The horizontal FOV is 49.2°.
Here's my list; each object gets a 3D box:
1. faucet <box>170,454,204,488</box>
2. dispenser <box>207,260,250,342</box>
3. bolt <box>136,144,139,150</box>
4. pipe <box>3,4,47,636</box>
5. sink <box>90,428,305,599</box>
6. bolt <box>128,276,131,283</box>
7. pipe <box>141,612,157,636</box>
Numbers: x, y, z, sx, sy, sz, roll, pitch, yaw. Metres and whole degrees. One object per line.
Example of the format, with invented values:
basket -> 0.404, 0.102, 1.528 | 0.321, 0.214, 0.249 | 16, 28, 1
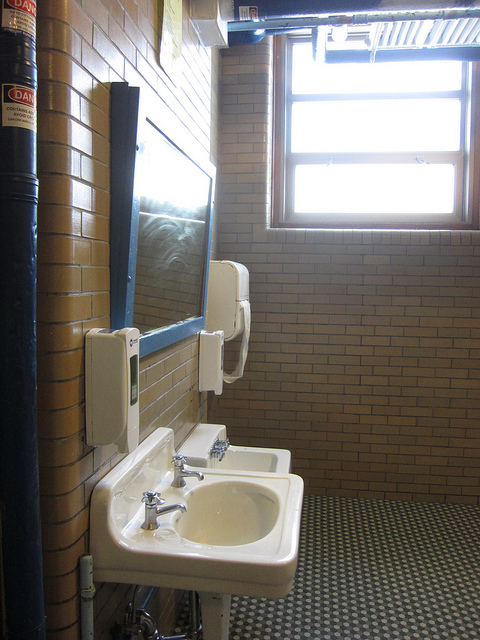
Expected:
faucet -> -0.172, 0.488, 1.715 | 0.130, 0.110, 0.064 | 4, 1, 31
dispenser -> -0.093, -0.114, 2.948 | 0.225, 0.439, 0.241 | 2, 7, 11
bolt -> -0.259, -0.440, 1.329 | 0.005, 0.012, 0.011 | 1, 3, 1
pipe -> -0.388, 0.038, 0.924 | 0.069, 1.159, 0.083 | -1, 4, -24
sink -> -0.086, 0.571, 1.593 | 0.555, 0.304, 0.750 | 1, 0, -2
bolt -> -0.289, -0.108, 1.376 | 0.008, 0.018, 0.016 | 0, 10, 1
pipe -> -0.251, 0.847, 1.450 | 0.015, 0.053, 0.049 | -12, 4, 3
